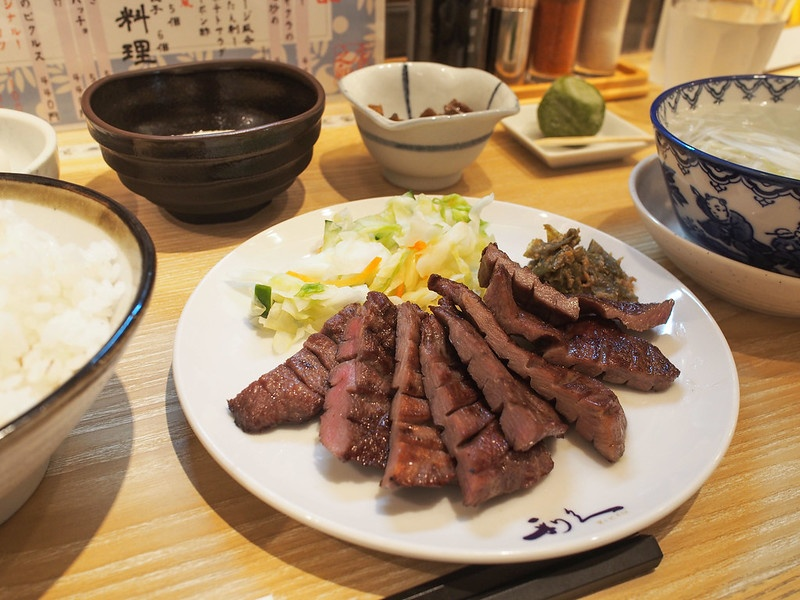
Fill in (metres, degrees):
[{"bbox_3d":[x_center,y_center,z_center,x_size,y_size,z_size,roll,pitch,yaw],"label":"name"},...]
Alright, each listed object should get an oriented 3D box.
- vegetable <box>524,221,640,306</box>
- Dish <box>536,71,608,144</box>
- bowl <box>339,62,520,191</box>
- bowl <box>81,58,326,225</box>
[{"bbox_3d":[0.676,-0.159,2.182,0.393,0.121,0.263,17,46,15],"label":"vegetable"},{"bbox_3d":[0.869,-0.963,3.006,0.352,0.289,0.297,-5,24,2],"label":"Dish"},{"bbox_3d":[0.113,-0.731,2.704,0.777,0.393,0.720,-1,36,1],"label":"bowl"},{"bbox_3d":[-0.735,-0.643,2.396,0.922,0.489,0.761,-3,46,-5],"label":"bowl"}]
